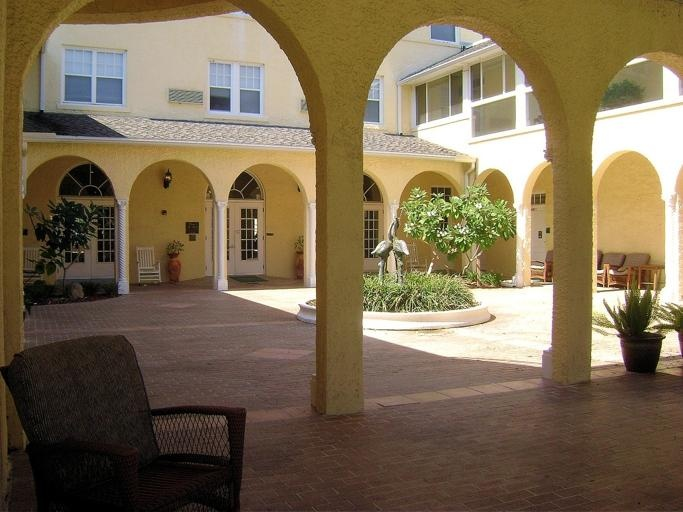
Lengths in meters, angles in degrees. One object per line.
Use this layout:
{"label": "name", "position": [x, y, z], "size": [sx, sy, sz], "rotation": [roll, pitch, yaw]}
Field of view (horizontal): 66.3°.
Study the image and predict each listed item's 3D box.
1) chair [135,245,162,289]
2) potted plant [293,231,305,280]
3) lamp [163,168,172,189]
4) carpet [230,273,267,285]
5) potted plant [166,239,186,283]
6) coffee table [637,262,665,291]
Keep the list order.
{"label": "chair", "position": [-6.759, 0.287, 18.128], "size": [0.821, 1.290, 0.726], "rotation": [0, 1, -21]}
{"label": "potted plant", "position": [-1.684, 0.010, 20.358], "size": [0.321, 1.669, 0.604], "rotation": [0, 1, -12]}
{"label": "lamp", "position": [-6.191, -2.730, 18.453], "size": [0.315, 0.648, 0.585], "rotation": [0, 1, -17]}
{"label": "carpet", "position": [-3.467, 0.824, 19.247], "size": [1.249, 0.212, 2.192], "rotation": [0, 0, -17]}
{"label": "potted plant", "position": [-6.003, 0.160, 18.673], "size": [0.589, 1.493, 0.485], "rotation": [0, 1, -28]}
{"label": "coffee table", "position": [9.266, 0.623, 15.531], "size": [0.779, 1.022, 0.820], "rotation": [0, -2, -3]}
